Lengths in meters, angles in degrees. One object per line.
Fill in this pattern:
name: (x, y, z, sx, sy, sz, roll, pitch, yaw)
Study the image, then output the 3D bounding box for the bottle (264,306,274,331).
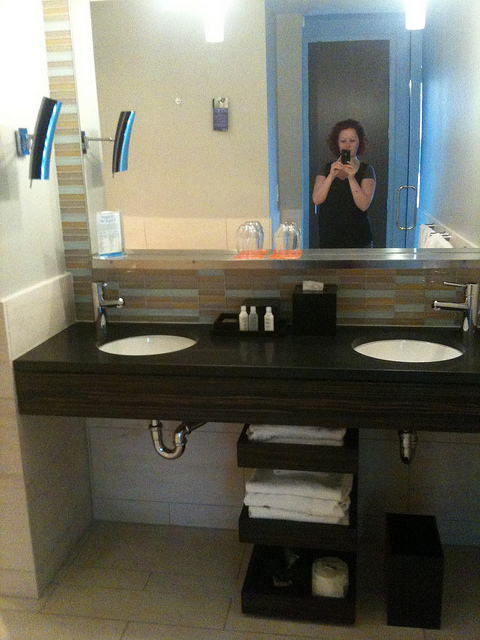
bottle: (0.096, -0.004, 1.683, 0.029, 0.079, 0.019, 0, 8, 8)

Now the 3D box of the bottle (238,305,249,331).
bottle: (0.015, -0.006, 1.703, 0.030, 0.082, 0.022, -2, 8, -4)

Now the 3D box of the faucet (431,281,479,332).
faucet: (0.699, -0.039, 1.629, 0.102, 0.163, 0.235, 6, 11, 42)

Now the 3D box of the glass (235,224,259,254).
glass: (0.025, -0.273, 1.749, 0.079, 0.135, 0.086, 4, 18, 14)

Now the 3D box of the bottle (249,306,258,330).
bottle: (0.046, -0.005, 1.703, 0.030, 0.079, 0.022, -6, 9, -30)

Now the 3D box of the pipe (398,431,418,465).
pipe: (0.524, 0.405, 1.598, 0.036, 0.144, 0.050, 3, 11, 23)

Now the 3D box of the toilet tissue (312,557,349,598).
toilet tissue: (0.283, 0.810, 1.607, 0.117, 0.083, 0.110, -5, 6, 13)

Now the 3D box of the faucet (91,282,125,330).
faucet: (-0.446, -0.035, 1.767, 0.115, 0.200, 0.048, 7, 23, 11)

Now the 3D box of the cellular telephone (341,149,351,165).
cellular telephone: (0.341, -0.527, 1.652, 0.034, 0.070, 0.035, 4, 25, 13)
